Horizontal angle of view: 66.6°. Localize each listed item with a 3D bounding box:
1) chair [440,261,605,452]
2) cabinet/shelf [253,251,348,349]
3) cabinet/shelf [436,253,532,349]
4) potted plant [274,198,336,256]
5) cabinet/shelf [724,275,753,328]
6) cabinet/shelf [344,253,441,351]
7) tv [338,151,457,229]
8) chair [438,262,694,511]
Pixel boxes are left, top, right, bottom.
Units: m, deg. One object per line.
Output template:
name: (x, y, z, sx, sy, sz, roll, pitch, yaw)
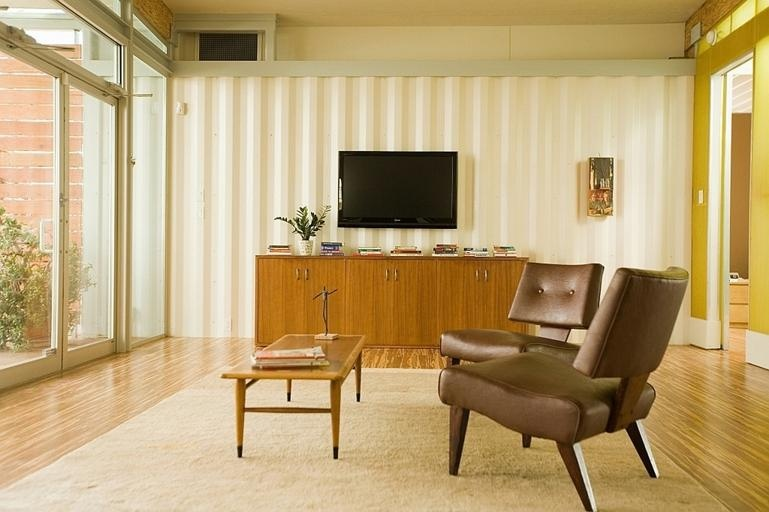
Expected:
chair: (1.253, 0.672, 5.016, 1.523, 1.591, 1.181, 1, -1, -36)
cabinet/shelf: (-0.887, 0.499, 6.283, 1.088, 0.937, 0.402, 0, -3, 0)
cabinet/shelf: (1.183, 0.508, 6.655, 1.032, 0.958, 0.368, 0, 0, 29)
potted plant: (-0.922, -0.262, 6.693, 0.562, 0.480, 0.595, -12, 4, -30)
cabinet/shelf: (4.659, 0.629, 7.708, 0.208, 0.620, 0.222, 4, 6, 37)
cabinet/shelf: (0.117, 0.533, 6.454, 1.094, 0.946, 0.379, 0, 3, 2)
tv: (0.157, -0.795, 6.902, 1.435, 0.901, 0.074, 2, 6, 14)
chair: (1.271, 0.770, 4.499, 1.741, 1.814, 1.415, 0, -1, 40)
